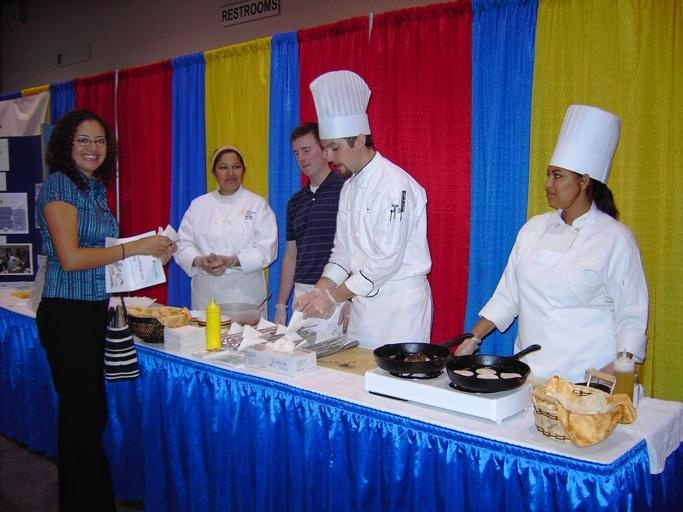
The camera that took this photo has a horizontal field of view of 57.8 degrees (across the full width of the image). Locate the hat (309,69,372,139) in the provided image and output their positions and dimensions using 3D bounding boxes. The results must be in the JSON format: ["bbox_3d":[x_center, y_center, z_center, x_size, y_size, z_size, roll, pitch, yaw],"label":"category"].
[{"bbox_3d":[-0.018,-0.768,3.228,0.316,0.300,0.331,-13,8,-37],"label":"hat"}]

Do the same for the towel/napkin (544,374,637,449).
[{"bbox_3d":[0.829,0.524,2.079,0.293,0.193,0.133,2,5,19],"label":"towel/napkin"}]

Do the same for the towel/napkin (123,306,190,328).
[{"bbox_3d":[-0.860,0.285,3.002,0.180,0.060,0.150,8,6,18],"label":"towel/napkin"}]

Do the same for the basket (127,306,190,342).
[{"bbox_3d":[-0.894,0.309,2.978,0.188,0.104,0.212,2,-2,-39],"label":"basket"}]

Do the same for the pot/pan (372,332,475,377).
[{"bbox_3d":[0.299,0.358,2.383,0.257,0.073,0.153,-3,2,-40],"label":"pot/pan"}]
